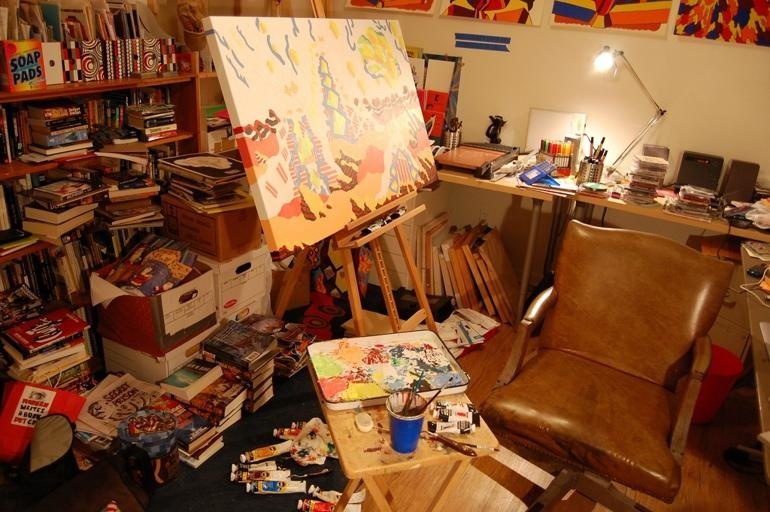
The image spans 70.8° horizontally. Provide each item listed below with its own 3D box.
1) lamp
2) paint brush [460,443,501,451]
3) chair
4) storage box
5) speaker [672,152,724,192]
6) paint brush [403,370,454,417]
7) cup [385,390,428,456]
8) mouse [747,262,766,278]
[{"bbox_3d":[1.684,-1.027,3.831,0.551,0.834,0.240,13,26,23],"label":"lamp"},{"bbox_3d":[0.381,0.782,2.210,0.157,0.015,0.075,4,5,-4],"label":"paint brush"},{"bbox_3d":[1.080,0.583,2.662,0.855,1.243,1.008,17,28,31],"label":"chair"},{"bbox_3d":[-1.092,0.181,3.054,0.516,0.644,0.897,19,38,26],"label":"storage box"},{"bbox_3d":[2.145,-0.586,3.776,0.291,0.264,0.206,12,4,8],"label":"speaker"},{"bbox_3d":[0.162,0.570,2.210,0.178,0.162,0.108,-8,31,-15],"label":"paint brush"},{"bbox_3d":[0.063,0.664,2.239,0.219,0.225,0.218,1,29,0],"label":"cup"},{"bbox_3d":[2.016,0.075,2.930,0.088,0.040,0.073,-12,26,-11],"label":"mouse"}]
